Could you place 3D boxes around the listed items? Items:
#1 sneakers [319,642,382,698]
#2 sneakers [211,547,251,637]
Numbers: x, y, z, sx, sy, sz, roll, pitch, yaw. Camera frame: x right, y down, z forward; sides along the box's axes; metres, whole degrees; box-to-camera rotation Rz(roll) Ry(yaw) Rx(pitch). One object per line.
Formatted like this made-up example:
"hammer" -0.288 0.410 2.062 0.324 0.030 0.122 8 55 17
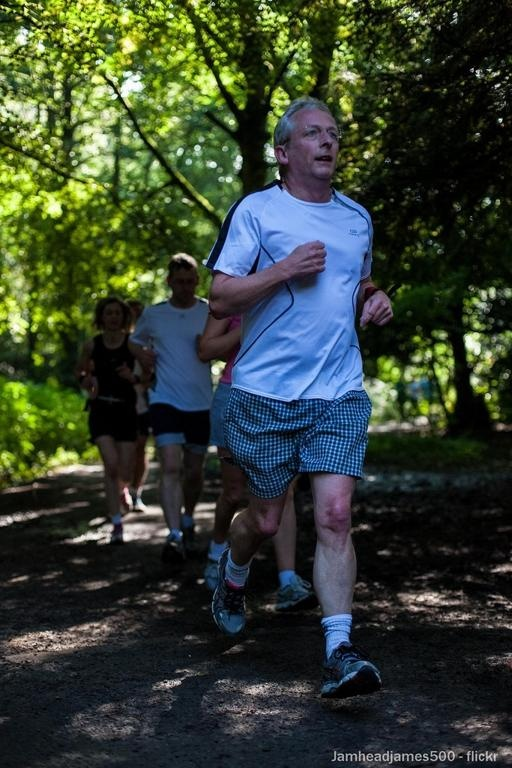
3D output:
"sneakers" 0.299 0.946 2.582 0.181 0.182 0.194 -3 -5 2
"sneakers" -0.132 0.982 3.788 0.158 0.398 0.195 -3 -4 -17
